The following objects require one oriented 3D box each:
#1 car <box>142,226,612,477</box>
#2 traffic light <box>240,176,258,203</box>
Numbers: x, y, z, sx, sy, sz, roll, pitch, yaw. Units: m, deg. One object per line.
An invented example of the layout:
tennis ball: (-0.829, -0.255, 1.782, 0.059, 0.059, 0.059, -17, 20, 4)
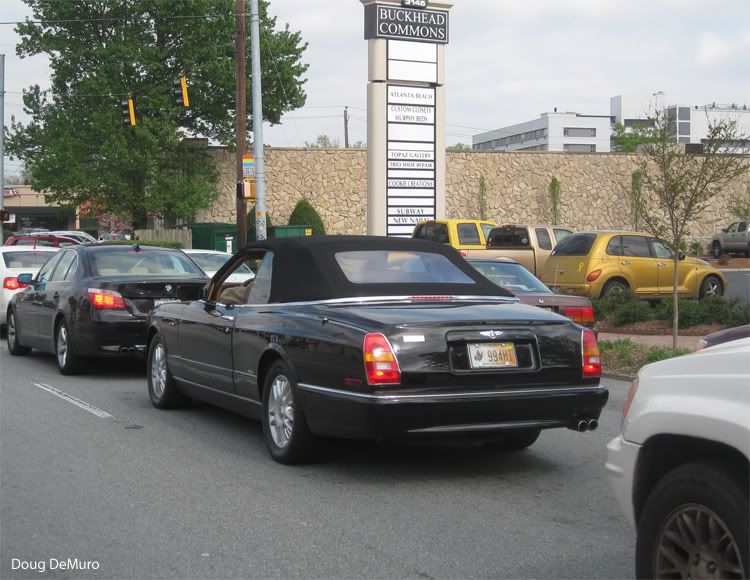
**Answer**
car: (-0.212, 0.486, 7.173, 4.344, 2.040, 1.855, 3, 3, 45)
traffic light: (-3.702, -3.095, 22.711, 0.515, 0.659, 0.431, 0, 1, 13)
